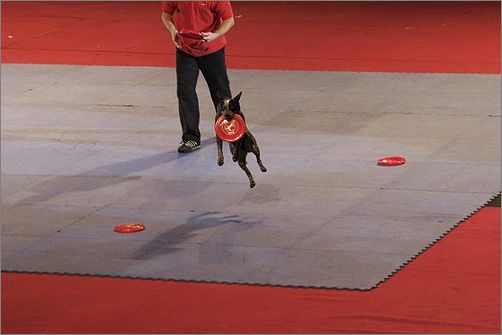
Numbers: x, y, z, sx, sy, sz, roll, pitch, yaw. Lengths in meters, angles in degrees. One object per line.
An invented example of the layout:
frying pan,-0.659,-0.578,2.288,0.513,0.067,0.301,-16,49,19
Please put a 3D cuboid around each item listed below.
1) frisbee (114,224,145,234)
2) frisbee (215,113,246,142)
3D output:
frisbee,-1.324,0.654,7.503,0.330,0.047,0.178,0,20,2
frisbee,-0.212,-0.388,7.097,0.304,0.365,0.202,-8,34,-7
